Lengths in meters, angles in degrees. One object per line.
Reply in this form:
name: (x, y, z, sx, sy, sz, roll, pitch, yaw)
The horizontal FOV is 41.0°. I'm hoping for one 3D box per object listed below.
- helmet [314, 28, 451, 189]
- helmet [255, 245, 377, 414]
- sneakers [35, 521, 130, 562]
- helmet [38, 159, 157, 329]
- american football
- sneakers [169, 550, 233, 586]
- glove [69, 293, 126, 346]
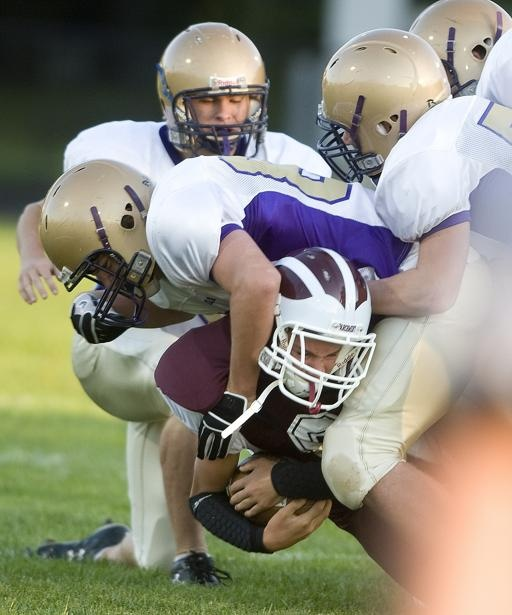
helmet: (0.293, -0.543, 1.846, 0.393, 0.445, 0.244, -8, -14, 42)
helmet: (0.128, 0.045, 1.421, 0.236, 0.342, 0.203, 0, -11, 9)
sneakers: (-0.575, 0.793, 2.313, 0.320, 0.122, 0.090, -6, 19, -14)
helmet: (-0.386, -0.170, 1.714, 0.321, 0.445, 0.169, 0, -11, 8)
american football: (0.049, 0.426, 1.595, 0.245, 0.145, 0.095, -5, -12, 31)
sneakers: (-0.179, 0.753, 2.000, 0.217, 0.081, 0.075, -6, -8, 41)
glove: (-0.393, 0.038, 1.696, 0.117, 0.089, 0.136, 17, 30, -24)
